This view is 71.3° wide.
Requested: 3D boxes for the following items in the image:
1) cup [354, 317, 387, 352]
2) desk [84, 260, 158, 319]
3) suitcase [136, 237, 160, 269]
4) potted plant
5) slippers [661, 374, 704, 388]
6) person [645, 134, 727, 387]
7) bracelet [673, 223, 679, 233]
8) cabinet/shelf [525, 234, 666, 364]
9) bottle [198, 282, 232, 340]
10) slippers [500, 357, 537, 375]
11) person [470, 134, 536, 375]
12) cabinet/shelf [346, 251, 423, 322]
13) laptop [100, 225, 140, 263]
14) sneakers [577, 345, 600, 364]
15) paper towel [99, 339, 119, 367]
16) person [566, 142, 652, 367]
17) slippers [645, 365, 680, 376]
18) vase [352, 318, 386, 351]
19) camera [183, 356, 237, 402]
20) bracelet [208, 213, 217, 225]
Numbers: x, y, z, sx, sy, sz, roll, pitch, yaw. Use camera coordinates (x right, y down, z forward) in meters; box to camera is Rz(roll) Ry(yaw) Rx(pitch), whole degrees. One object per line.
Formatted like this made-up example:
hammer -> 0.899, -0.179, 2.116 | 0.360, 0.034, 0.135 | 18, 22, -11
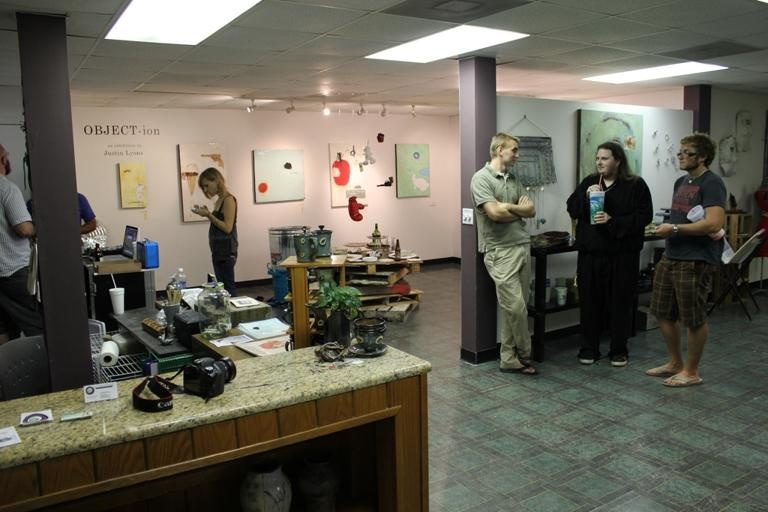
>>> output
cup -> -0.080, 0.483, 3.364 | 0.211, 0.168, 0.201 | 0, 2, 0
desk -> -3.084, 0.516, 6.443 | 0.733, 0.826, 0.586 | -9, -18, -13
suitcase -> -2.925, -0.033, 6.632 | 0.188, 0.383, 0.519 | -3, 6, -32
potted plant -> -0.322, 0.416, 3.729 | 0.354, 0.444, 0.315 | 6, -15, -8
slippers -> 3.082, 1.288, 5.558 | 0.315, 0.083, 0.164 | 0, 0, -12
person -> 3.086, 0.049, 5.465 | 0.578, 2.548, 0.708 | 7, 17, 31
bracelet -> 2.878, -0.276, 5.288 | 0.045, 0.085, 0.079 | 3, 14, 18
cabinet/shelf -> 2.388, 0.507, 6.217 | 1.522, 1.156, 0.571 | -5, 10, -31
bottle -> -1.387, 0.442, 4.311 | 0.285, 0.424, 0.273 | 1, 2, 0
slippers -> 1.483, 1.222, 5.980 | 0.444, 0.157, 0.153 | -2, 6, 5
person -> 1.367, -0.013, 5.837 | 0.510, 2.604, 0.722 | -11, 17, -31
cabinet/shelf -> -0.118, 0.332, 8.009 | 1.278, 0.735, 1.392 | 14, -7, -14
laptop -> -3.442, -0.151, 7.100 | 0.506, 0.390, 0.623 | -1, 6, -33
sneakers -> 2.315, 1.132, 6.112 | 0.143, 0.106, 0.269 | 0, 0, 35
paper towel -> -1.975, 0.704, 3.863 | 0.144, 0.112, 0.274 | -3, 7, -23
person -> 2.472, -0.011, 5.944 | 0.812, 2.467, 0.468 | 4, 15, 22
slippers -> 2.978, 1.233, 5.729 | 0.268, 0.102, 0.121 | 1, 2, 10
vase -> -0.113, 0.510, 3.356 | 0.222, 0.179, 0.217 | -3, -6, 33
camera -> -0.958, 0.648, 2.989 | 0.207, 0.163, 0.287 | 7, 6, 16
bracelet -> -2.354, -0.539, 7.322 | 0.063, 0.112, 0.160 | -14, 37, -19
